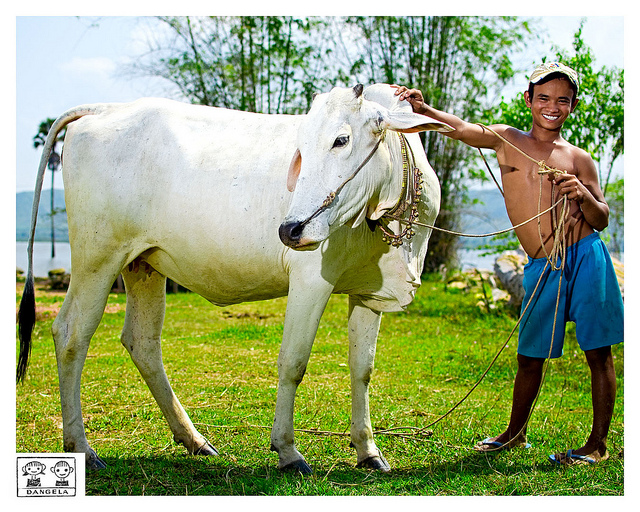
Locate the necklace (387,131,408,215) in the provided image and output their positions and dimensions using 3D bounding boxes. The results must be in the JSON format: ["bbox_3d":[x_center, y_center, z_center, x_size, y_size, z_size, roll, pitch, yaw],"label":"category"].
[{"bbox_3d":[0.565,-0.593,6.293,0.111,0.576,0.155,5,11,23],"label":"necklace"}]

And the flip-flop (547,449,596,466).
[{"bbox_3d":[1.890,1.532,6.651,0.274,0.068,0.124,6,-3,15],"label":"flip-flop"}]

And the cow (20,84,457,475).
[{"bbox_3d":[-0.532,0.168,6.530,2.781,2.872,0.926,2,11,10],"label":"cow"}]

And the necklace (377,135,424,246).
[{"bbox_3d":[0.645,-0.435,6.389,0.097,0.650,0.487,0,8,16],"label":"necklace"}]
